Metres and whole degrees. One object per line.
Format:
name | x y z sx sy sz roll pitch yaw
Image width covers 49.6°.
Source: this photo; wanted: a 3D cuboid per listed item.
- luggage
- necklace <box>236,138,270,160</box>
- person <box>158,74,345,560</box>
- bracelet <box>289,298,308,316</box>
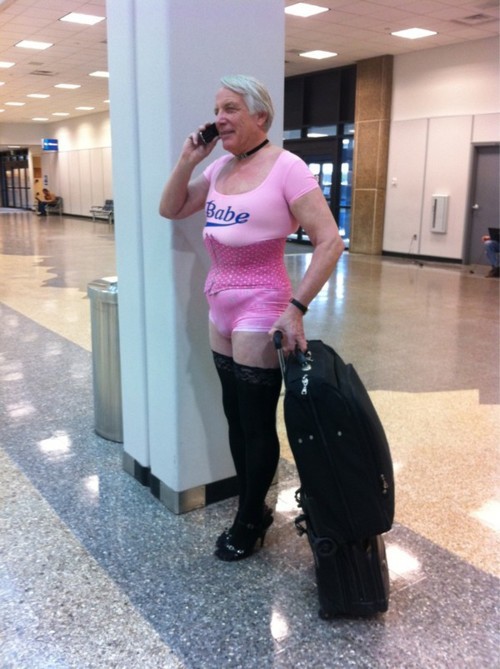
luggage | 0.217 0.368 1.563 0.297 0.810 0.373 -9 8 2
necklace | 0.009 -0.543 1.580 0.087 0.054 0.058 1 11 1
person | -0.116 0.036 1.737 0.560 1.476 0.542 0 16 -12
bracelet | 0.132 -0.076 1.460 0.045 0.018 0.047 39 -1 -4
